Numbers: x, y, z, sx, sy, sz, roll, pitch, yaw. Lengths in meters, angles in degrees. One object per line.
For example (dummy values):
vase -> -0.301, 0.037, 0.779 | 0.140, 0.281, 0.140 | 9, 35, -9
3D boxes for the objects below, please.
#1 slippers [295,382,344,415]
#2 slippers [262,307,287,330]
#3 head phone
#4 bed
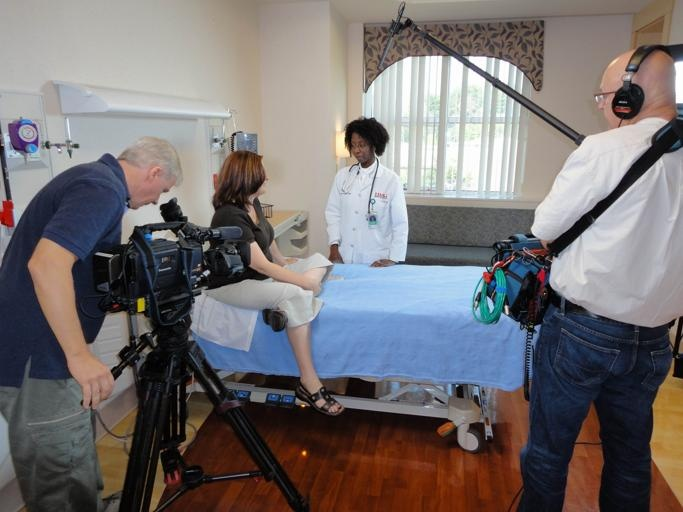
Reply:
slippers -> -0.111, 0.785, 2.664 | 0.304, 0.133, 0.123 | 18, 13, 19
slippers -> -0.346, 0.331, 2.509 | 0.060, 0.085, 0.186 | -4, 1, -13
head phone -> 1.095, -0.639, 1.791 | 0.262, 0.253, 0.097 | -13, 21, -43
bed -> 0.137, 0.387, 2.834 | 1.582, 0.874, 0.916 | 1, 14, 11
